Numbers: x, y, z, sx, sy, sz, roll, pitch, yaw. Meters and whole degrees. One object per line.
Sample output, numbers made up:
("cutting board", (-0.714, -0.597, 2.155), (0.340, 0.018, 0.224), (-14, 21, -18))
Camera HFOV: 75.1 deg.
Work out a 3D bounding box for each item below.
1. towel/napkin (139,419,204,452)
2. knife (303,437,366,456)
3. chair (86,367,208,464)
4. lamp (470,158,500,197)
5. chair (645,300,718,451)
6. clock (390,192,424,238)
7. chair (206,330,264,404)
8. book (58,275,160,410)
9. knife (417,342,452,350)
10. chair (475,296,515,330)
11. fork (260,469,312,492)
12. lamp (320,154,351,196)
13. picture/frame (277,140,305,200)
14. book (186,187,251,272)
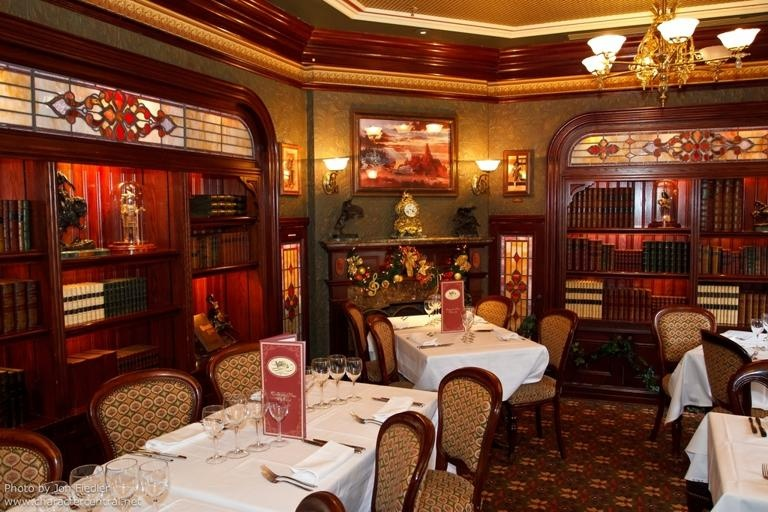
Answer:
("towel/napkin", (-1.277, 1.061, 3.131), (0.195, 0.050, 0.340), (4, 5, 20))
("knife", (-0.304, 1.141, 3.039), (0.452, 0.024, 0.123), (-2, 0, 33))
("chair", (-1.725, 1.046, 3.735), (0.576, 0.820, 0.569), (-3, 6, -40))
("lamp", (1.518, -1.094, 7.138), (0.430, 0.616, 0.470), (-1, 2, -38))
("chair", (3.367, 1.353, 5.580), (0.672, 1.464, 0.674), (-8, -35, 38))
("clock", (0.340, -0.555, 6.764), (0.413, 0.609, 0.396), (-1, 8, -6))
("chair", (-1.243, 1.053, 4.232), (0.439, 0.635, 0.468), (-12, 19, -40))
("book", (-2.369, 0.729, 4.241), (0.357, 0.990, 1.051), (1, 3, 32))
("knife", (0.491, 0.892, 4.980), (0.452, 0.037, 0.102), (-2, 4, -14))
("chair", (1.404, 0.696, 6.336), (0.392, 0.514, 0.402), (1, 0, 34))
("fork", (-0.528, 1.213, 2.704), (0.258, 0.039, 0.054), (6, 6, 30))
("lamp", (-0.660, -1.019, 6.417), (0.438, 0.555, 0.426), (-3, 5, -38))
("picture/frame", (-1.147, -1.041, 6.154), (0.074, 0.638, 0.479), (3, 8, 20))
("book", (-1.834, -0.270, 5.481), (0.503, 0.866, 0.917), (2, 5, 32))
